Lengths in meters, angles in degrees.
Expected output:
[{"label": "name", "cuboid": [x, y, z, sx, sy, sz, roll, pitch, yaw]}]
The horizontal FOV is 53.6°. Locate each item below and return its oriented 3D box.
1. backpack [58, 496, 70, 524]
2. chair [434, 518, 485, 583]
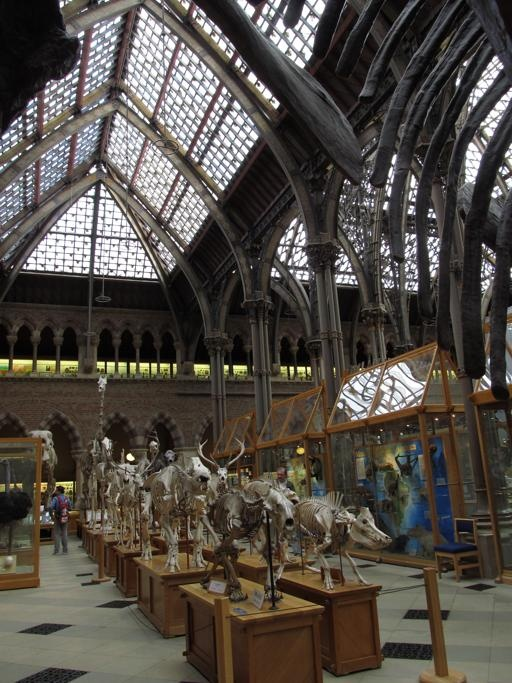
[{"label": "backpack", "cuboid": [-5.479, 4.731, 14.417, 0.216, 0.777, 0.910, 1, -12, -21]}, {"label": "chair", "cuboid": [3.202, 3.252, 8.020, 0.669, 0.849, 0.671, -10, -17, 24]}]
